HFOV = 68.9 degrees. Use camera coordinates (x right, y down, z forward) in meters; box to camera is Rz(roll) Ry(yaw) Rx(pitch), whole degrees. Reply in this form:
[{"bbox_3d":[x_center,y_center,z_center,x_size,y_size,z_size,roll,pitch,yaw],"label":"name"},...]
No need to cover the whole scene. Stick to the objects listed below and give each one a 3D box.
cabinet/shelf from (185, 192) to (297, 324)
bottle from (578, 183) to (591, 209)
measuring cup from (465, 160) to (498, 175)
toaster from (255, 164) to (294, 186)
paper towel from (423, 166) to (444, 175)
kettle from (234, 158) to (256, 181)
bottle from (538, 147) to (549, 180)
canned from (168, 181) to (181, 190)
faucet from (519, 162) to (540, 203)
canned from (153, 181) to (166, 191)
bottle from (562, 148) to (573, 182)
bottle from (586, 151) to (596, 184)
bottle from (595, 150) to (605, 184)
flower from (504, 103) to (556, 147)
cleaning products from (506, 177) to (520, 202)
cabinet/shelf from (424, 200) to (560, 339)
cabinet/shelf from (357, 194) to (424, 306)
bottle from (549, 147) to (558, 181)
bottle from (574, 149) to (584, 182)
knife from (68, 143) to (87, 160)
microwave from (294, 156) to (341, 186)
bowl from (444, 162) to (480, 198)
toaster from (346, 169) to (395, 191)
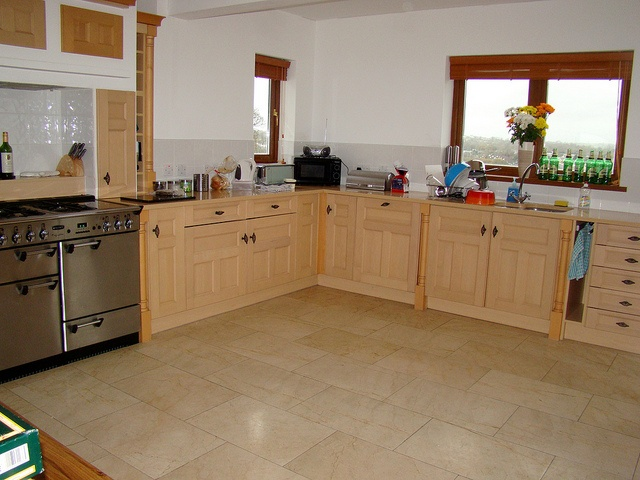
[{"bbox_3d":[-0.884,0.099,4.718,0.457,0.858,1.393,14,16,40],"label":"cabinet/shelf"},{"bbox_3d":[2.544,-0.433,4.495,0.089,0.223,0.148,7,15,25],"label":"bottle"},{"bbox_3d":[1.709,-0.785,4.995,0.219,0.115,0.307,-8,11,-33],"label":"measuring cup"},{"bbox_3d":[-0.531,-0.769,5.425,0.209,0.225,0.609,9,16,33],"label":"toaster"},{"bbox_3d":[1.237,-0.768,5.096,0.172,0.099,0.359,4,14,14],"label":"paper towel"},{"bbox_3d":[-0.792,-0.738,4.937,0.249,0.251,0.158,2,11,6],"label":"kettle"},{"bbox_3d":[2.362,-0.816,4.949,0.097,0.314,0.142,3,14,13],"label":"bottle"},{"bbox_3d":[-1.299,-0.492,4.183,0.090,0.090,0.089,4,6,29],"label":"canned"},{"bbox_3d":[2.159,-0.592,4.844,0.214,0.531,0.108,6,44,25],"label":"faucet"},{"bbox_3d":[-1.421,-0.478,4.141,0.083,0.077,0.099,1,2,22],"label":"canned"},{"bbox_3d":[2.569,-0.780,4.833,0.099,0.315,0.125,7,15,27],"label":"bottle"},{"bbox_3d":[2.720,-0.734,4.697,0.097,0.313,0.183,5,14,20],"label":"bottle"},{"bbox_3d":[2.786,-0.693,4.658,0.104,0.235,0.087,8,16,31],"label":"bottle"},{"bbox_3d":[2.127,-1.183,4.859,0.446,0.413,0.443,-4,7,-43],"label":"flower"},{"bbox_3d":[1.942,-0.487,4.703,0.101,0.197,0.188,6,15,22],"label":"cleaning products"},{"bbox_3d":[1.659,0.347,4.741,1.230,1.156,0.628,8,-19,16],"label":"cabinet/shelf"},{"bbox_3d":[0.832,0.001,5.260,0.812,1.030,0.797,5,16,14],"label":"cabinet/shelf"},{"bbox_3d":[2.442,-0.790,4.885,0.094,0.313,0.173,7,15,26],"label":"bottle"},{"bbox_3d":[2.655,-0.762,4.779,0.093,0.316,0.125,3,14,12],"label":"bottle"},{"bbox_3d":[-2.058,-0.757,3.965,0.130,0.150,0.045,23,-4,1],"label":"knife"},{"bbox_3d":[-0.048,-0.824,5.556,0.516,0.327,0.339,3,10,6],"label":"microwave"},{"bbox_3d":[1.470,-0.620,4.874,0.351,0.350,0.202,5,14,17],"label":"bowl"},{"bbox_3d":[0.563,-0.696,5.406,0.557,0.209,0.309,2,14,7],"label":"toaster"}]
